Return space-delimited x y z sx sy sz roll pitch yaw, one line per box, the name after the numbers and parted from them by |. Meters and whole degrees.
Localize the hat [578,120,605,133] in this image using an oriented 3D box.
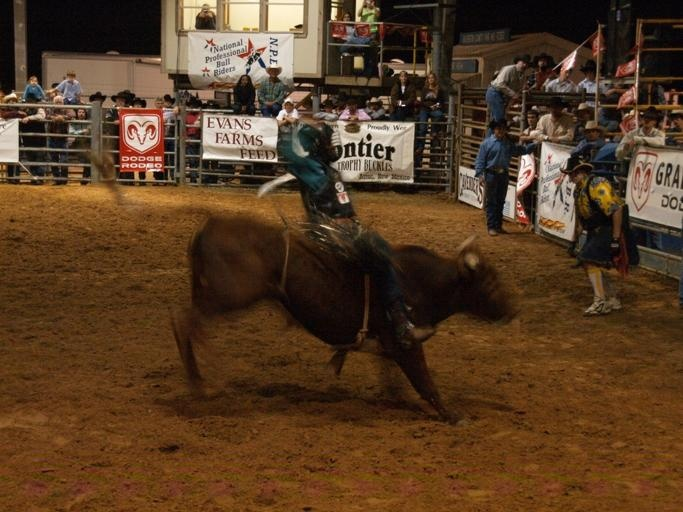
3.987 -2.032 11.077 0.265 0.155 0.228 6 12 24 | hat

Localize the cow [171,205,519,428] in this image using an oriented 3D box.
-0.030 0.481 5.823 2.647 1.608 0.693 0 13 -5 | cow

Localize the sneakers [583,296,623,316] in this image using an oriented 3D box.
3.172 0.609 8.494 0.588 0.183 0.174 -5 5 -19 | sneakers

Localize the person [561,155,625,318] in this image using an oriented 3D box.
3.072 -0.233 8.480 0.774 1.880 0.487 9 15 29 | person

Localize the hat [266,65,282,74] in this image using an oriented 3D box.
-1.628 -4.586 17.168 0.479 0.105 0.429 -1 3 -1 | hat
